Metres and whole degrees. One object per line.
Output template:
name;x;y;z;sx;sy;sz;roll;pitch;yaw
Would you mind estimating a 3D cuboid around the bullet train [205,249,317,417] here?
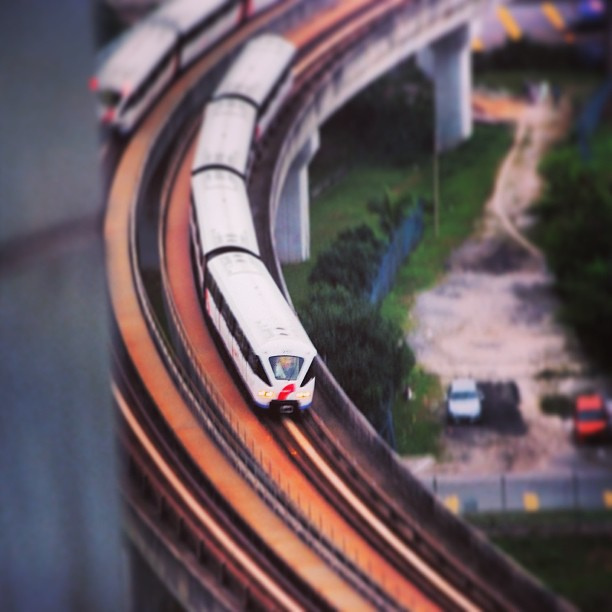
bullet train;-0.482;0.035;11.583;0.524;0.810;2.428;-9;55;-15
